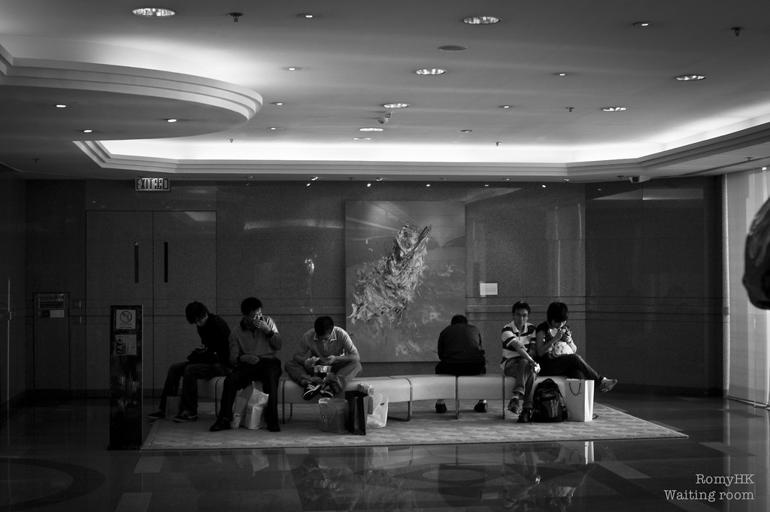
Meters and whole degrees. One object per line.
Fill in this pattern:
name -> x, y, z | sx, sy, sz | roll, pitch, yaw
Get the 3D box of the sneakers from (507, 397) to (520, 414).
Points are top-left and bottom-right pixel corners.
sneakers -> 1.942, 2.309, 10.000 | 0.186, 0.287, 0.294 | 5, -12, -4

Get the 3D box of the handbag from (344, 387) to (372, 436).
handbag -> -0.395, 2.186, 9.258 | 0.369, 0.543, 0.330 | 1, 1, 19

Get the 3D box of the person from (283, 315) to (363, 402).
person -> -0.944, 1.517, 9.831 | 1.143, 0.985, 1.499 | 0, 10, -3

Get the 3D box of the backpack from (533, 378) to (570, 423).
backpack -> 2.510, 2.306, 10.036 | 0.487, 0.801, 0.673 | -9, -22, 17

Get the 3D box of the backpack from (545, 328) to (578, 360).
backpack -> 2.787, 1.418, 10.380 | 0.378, 0.454, 0.187 | 6, -16, -38

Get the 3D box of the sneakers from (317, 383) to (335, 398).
sneakers -> -0.844, 1.982, 9.563 | 0.257, 0.208, 0.148 | -2, -4, 10

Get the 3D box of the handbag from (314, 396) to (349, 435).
handbag -> -0.760, 2.296, 9.381 | 0.489, 0.452, 0.454 | 5, -5, -22

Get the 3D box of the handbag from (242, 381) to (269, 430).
handbag -> -1.884, 2.202, 9.423 | 0.294, 0.696, 0.589 | 9, -8, -4

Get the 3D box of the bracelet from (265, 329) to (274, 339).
bracelet -> -1.754, 1.193, 9.829 | 0.127, 0.087, 0.126 | 0, -2, 30

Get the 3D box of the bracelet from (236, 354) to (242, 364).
bracelet -> -2.206, 1.565, 9.762 | 0.022, 0.083, 0.091 | 10, 7, -39

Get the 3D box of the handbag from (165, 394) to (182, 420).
handbag -> -3.287, 2.367, 10.067 | 0.376, 0.414, 0.149 | 2, -6, -14
